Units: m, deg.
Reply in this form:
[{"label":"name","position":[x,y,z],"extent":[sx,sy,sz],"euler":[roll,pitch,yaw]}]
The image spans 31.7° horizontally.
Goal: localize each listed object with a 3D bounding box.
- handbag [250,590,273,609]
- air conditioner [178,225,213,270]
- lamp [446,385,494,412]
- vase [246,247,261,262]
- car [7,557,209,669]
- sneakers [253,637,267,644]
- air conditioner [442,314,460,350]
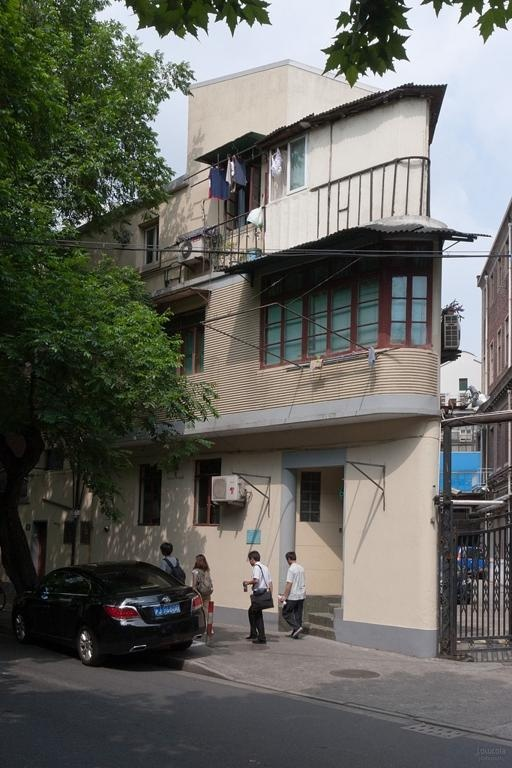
[{"label":"handbag","position":[0.082,3.343,13.888],"extent":[0.316,0.327,0.224],"euler":[2,-7,-1]},{"label":"air conditioner","position":[-1.263,-2.969,19.076],"extent":[0.557,0.971,1.776],"euler":[4,-8,-15]},{"label":"lamp","position":[6.676,0.415,27.874],"extent":[1.259,1.169,0.959],"euler":[-1,-1,14]},{"label":"vase","position":[-0.036,-2.445,16.808],"extent":[0.251,0.222,0.546],"euler":[2,-8,-2]},{"label":"car","position":[-2.202,3.149,12.647],"extent":[1.217,0.902,2.616],"euler":[10,-10,-41]},{"label":"sneakers","position":[0.049,3.990,14.030],"extent":[0.224,0.117,0.322],"euler":[2,-8,0]},{"label":"air conditioner","position":[3.395,-0.930,15.759],"extent":[0.290,0.631,0.399],"euler":[1,-7,9]}]
